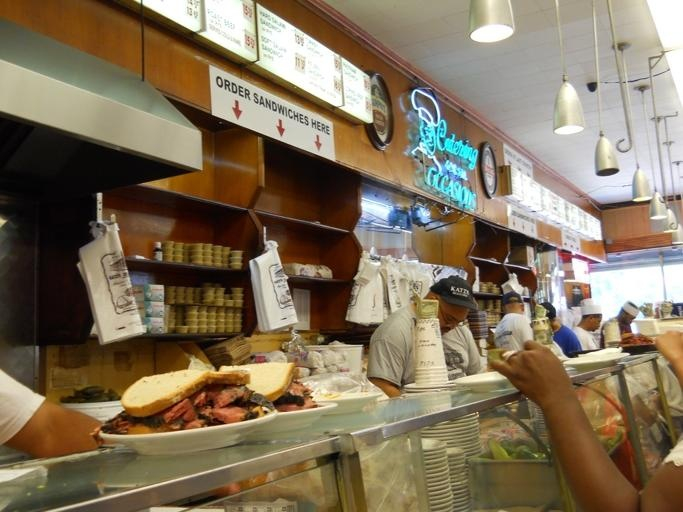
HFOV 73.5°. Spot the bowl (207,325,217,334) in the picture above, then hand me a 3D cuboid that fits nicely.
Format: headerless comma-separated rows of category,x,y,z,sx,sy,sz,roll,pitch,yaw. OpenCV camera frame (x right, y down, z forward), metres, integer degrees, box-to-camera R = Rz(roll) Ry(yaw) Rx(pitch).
bowl,-0.947,0.540,3.376,0.063,0.041,0.059,-1,-4,0

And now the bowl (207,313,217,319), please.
bowl,-0.950,0.442,3.389,0.052,0.044,0.050,-1,2,0

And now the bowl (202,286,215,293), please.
bowl,-0.984,0.242,3.419,0.091,0.050,0.066,3,-8,-17

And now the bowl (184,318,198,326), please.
bowl,-1.063,0.475,3.280,0.061,0.032,0.060,0,-9,0

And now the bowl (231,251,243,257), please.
bowl,-0.818,-0.018,3.604,0.102,0.046,0.042,1,-8,-5

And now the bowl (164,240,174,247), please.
bowl,-1.227,-0.085,3.285,0.056,0.037,0.056,1,2,0

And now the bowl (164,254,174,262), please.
bowl,-1.215,0.016,3.245,0.053,0.035,0.052,0,1,0

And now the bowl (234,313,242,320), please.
bowl,-0.799,0.473,3.562,0.053,0.032,0.049,-1,-3,0

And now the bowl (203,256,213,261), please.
bowl,-0.991,0.020,3.424,0.022,0.056,0.072,-3,-8,26

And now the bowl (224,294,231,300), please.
bowl,-0.871,0.315,3.519,0.031,0.043,0.085,1,-7,0

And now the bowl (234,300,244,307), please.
bowl,-0.790,0.373,3.562,0.033,0.057,0.086,-3,-8,25

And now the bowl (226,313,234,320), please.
bowl,-0.847,0.466,3.507,0.050,0.033,0.049,-1,-10,0

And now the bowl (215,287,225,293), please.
bowl,-0.914,0.268,3.508,0.043,0.045,0.101,0,-7,8

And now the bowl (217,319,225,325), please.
bowl,-0.895,0.495,3.430,0.042,0.027,0.040,0,-1,0

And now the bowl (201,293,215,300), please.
bowl,-0.983,0.300,3.381,0.068,0.044,0.064,0,-14,0

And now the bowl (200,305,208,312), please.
bowl,-0.997,0.380,3.349,0.023,0.043,0.067,-4,-8,28

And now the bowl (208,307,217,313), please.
bowl,-0.952,0.400,3.400,0.049,0.031,0.046,1,-12,0

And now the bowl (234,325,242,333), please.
bowl,-0.793,0.562,3.560,0.027,0.062,0.078,-3,-8,24

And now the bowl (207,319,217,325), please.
bowl,-0.945,0.486,3.386,0.066,0.039,0.016,8,-11,-44

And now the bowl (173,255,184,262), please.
bowl,-1.164,0.018,3.300,0.056,0.036,0.053,-2,-3,0

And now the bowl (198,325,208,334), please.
bowl,-1.000,0.535,3.320,0.063,0.039,0.059,0,-15,0

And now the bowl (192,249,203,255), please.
bowl,-1.049,-0.030,3.364,0.076,0.061,0.042,3,-8,-18

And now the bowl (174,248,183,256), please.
bowl,-1.163,-0.027,3.291,0.054,0.036,0.050,-1,-13,0

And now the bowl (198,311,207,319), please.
bowl,-1.001,0.425,3.328,0.059,0.049,0.056,2,1,0

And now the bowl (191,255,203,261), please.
bowl,-1.048,0.018,3.350,0.057,0.034,0.055,1,-3,0

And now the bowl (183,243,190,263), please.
bowl,-1.126,-0.016,3.357,0.049,0.128,0.045,1,-8,0

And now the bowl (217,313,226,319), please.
bowl,-0.895,0.456,3.447,0.049,0.032,0.048,-2,-7,0

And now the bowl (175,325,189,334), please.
bowl,-1.120,0.520,3.233,0.063,0.032,0.059,0,-7,0

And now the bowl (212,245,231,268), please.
bowl,-0.918,0.004,3.513,0.159,0.142,0.158,0,-6,0

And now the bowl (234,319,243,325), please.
bowl,-0.793,0.517,3.555,0.046,0.029,0.043,-1,-3,0

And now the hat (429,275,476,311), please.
hat,0.754,0.220,3.041,0.264,0.159,0.340,14,10,-6

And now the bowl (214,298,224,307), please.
bowl,-0.903,0.349,3.423,0.080,0.055,0.039,4,-8,-20

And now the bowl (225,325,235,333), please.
bowl,-0.847,0.555,3.491,0.063,0.041,0.061,1,-9,0

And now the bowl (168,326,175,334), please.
bowl,-1.182,0.522,3.208,0.047,0.037,0.055,1,-7,0

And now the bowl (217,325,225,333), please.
bowl,-0.890,0.545,3.431,0.059,0.038,0.056,0,-10,0

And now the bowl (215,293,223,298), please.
bowl,-0.910,0.300,3.457,0.031,0.042,0.061,-6,-10,41

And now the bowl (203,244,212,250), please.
bowl,-0.999,-0.067,3.433,0.059,0.036,0.055,-3,1,0

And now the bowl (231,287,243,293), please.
bowl,-0.811,0.270,3.574,0.085,0.059,0.058,-3,-9,28

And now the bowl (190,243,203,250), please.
bowl,-1.058,-0.069,3.394,0.057,0.032,0.053,0,-7,0

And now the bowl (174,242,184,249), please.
bowl,-1.173,-0.074,3.338,0.055,0.036,0.055,-1,4,0

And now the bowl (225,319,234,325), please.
bowl,-0.846,0.514,3.519,0.052,0.049,0.048,-1,-4,0

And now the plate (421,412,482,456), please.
plate,0.326,0.537,1.386,0.178,0.141,0.166,-3,-3,5

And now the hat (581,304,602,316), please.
hat,4.333,0.926,7.938,0.292,0.166,0.286,-2,3,-35

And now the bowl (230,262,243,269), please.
bowl,-0.810,0.078,3.570,0.099,0.064,0.054,3,-8,-17

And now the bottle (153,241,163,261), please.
bottle,-1.285,-0.031,3.238,0.064,0.145,0.195,4,-8,-22

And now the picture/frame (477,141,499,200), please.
picture/frame,2.362,-1.355,7.437,0.084,0.924,0.999,-9,-13,29

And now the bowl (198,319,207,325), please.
bowl,-1.004,0.477,3.322,0.047,0.029,0.045,-1,-7,0

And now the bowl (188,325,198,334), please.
bowl,-1.052,0.524,3.279,0.056,0.037,0.055,1,-10,0

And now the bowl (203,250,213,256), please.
bowl,-0.987,-0.017,3.417,0.042,0.028,0.041,-1,1,0

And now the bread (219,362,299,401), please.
bread,-0.198,0.305,1.176,0.126,0.028,0.127,1,5,9

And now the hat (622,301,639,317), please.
hat,4.758,0.865,7.546,0.254,0.143,0.242,20,18,-21

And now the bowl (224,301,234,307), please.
bowl,-0.851,0.362,3.483,0.029,0.041,0.093,-2,-8,21
